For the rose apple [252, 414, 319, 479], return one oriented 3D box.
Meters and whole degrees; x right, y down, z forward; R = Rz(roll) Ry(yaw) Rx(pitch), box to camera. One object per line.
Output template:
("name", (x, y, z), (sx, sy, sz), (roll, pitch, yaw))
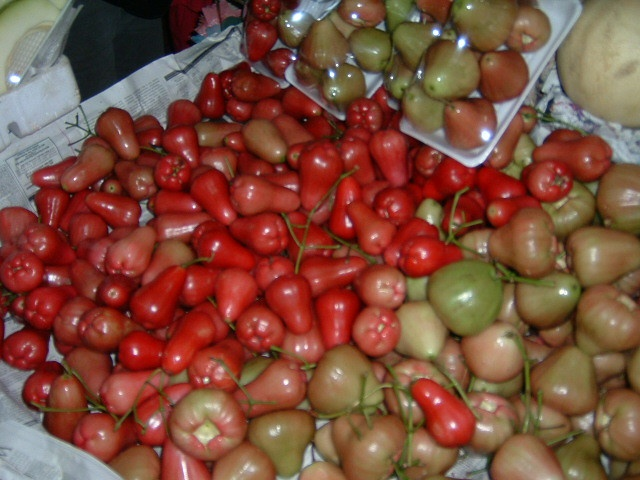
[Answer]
("rose apple", (-0.116, 0.653, 2.038), (0.184, 0.074, 0.214), (-9, 87, -16))
